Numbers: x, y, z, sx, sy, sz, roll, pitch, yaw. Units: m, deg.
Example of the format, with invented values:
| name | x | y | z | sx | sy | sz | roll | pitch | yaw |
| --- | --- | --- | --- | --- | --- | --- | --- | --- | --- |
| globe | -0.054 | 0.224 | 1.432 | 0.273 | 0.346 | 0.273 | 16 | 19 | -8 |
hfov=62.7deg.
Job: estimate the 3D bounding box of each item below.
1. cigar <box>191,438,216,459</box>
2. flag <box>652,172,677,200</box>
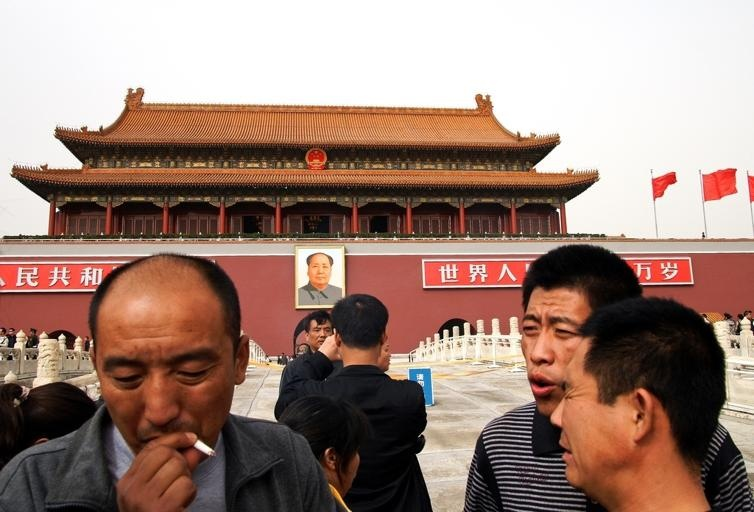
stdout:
| name | x | y | z | sx | sy | sz | roll | pitch | yaw |
| --- | --- | --- | --- | --- | --- | --- | --- | --- | --- |
| cigar | -0.576 | 0.640 | 2.061 | 0.075 | 0.025 | 0.043 | 31 | 30 | 9 |
| flag | 9.727 | -2.429 | 21.242 | 0.724 | 0.777 | 0.938 | -11 | -13 | 39 |
